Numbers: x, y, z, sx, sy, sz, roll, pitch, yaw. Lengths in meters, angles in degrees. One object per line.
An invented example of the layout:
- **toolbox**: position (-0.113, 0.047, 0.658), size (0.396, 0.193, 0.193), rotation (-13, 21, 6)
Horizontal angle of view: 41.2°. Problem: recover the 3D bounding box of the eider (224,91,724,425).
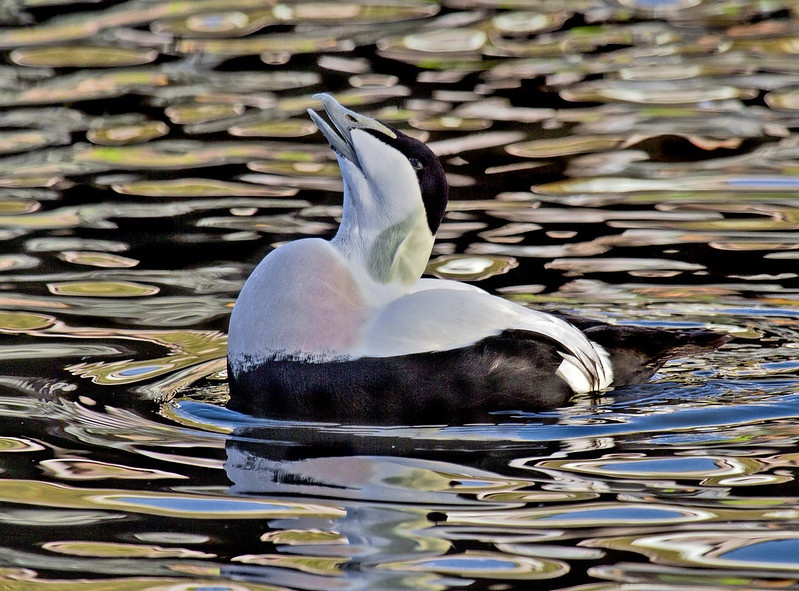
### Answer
- **eider**: position (0.206, -0.182, 4.877), size (1.964, 1.475, 0.618), rotation (1, 5, -5)
